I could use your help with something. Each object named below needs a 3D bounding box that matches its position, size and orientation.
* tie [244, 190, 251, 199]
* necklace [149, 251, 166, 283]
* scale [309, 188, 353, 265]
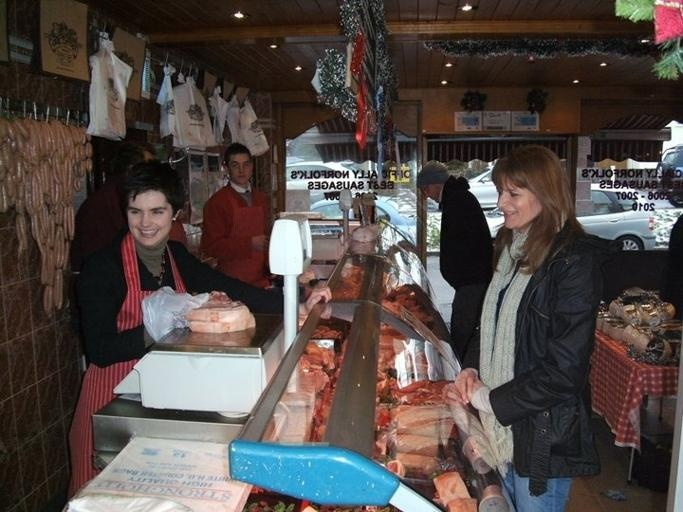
[{"bbox_3d":[-0.790,-0.531,4.180,0.050,0.068,0.018,1,-2,-31],"label":"tie"},{"bbox_3d":[-0.804,0.042,2.160,0.025,0.110,0.070,-10,-26,25],"label":"necklace"},{"bbox_3d":[-0.164,-0.245,4.221,0.612,0.632,0.362,-3,12,-3],"label":"scale"}]
